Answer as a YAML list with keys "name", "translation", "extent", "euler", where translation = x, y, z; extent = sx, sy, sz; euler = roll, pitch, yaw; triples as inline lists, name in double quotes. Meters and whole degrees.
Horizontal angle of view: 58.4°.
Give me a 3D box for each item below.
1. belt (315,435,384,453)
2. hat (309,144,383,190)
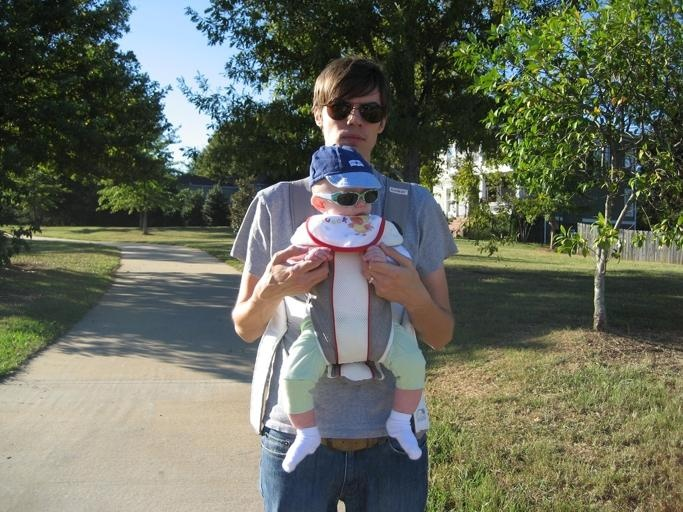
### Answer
- name: "belt"
  translation: [0.071, 1.229, 3.985]
  extent: [0.406, 0.096, 0.018]
  euler: [-2, 9, -3]
- name: "hat"
  translation: [-0.002, -0.598, 4.113]
  extent: [0.375, 0.221, 0.285]
  euler: [8, 11, 39]
